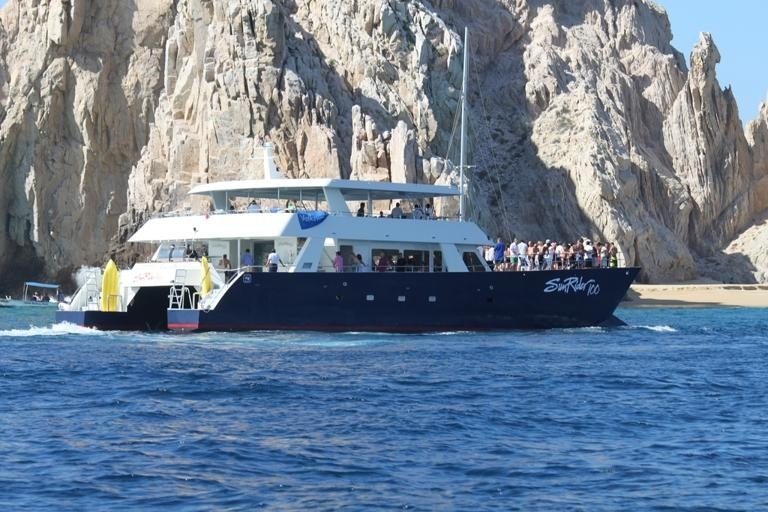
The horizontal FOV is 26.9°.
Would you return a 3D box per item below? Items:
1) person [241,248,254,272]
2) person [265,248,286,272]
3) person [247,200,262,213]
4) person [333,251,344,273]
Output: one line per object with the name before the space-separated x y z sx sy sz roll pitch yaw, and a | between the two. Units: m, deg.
person | -7.970 0.225 92.708 0.787 1.163 1.901 2 4 -5
person | -6.282 0.299 92.486 1.171 1.823 0.508 -1 10 -9
person | -7.691 -2.789 94.181 0.987 0.675 1.880 -1 5 -3
person | -2.684 0.330 93.055 0.632 1.098 0.915 3 4 -4
